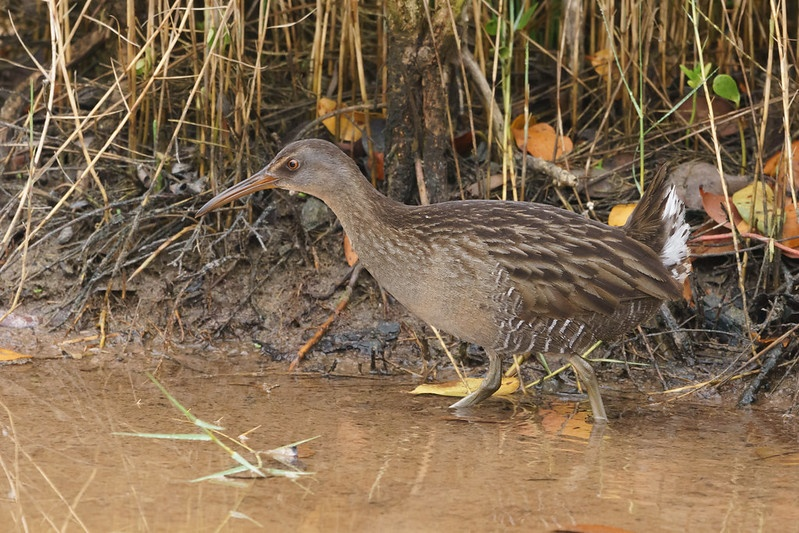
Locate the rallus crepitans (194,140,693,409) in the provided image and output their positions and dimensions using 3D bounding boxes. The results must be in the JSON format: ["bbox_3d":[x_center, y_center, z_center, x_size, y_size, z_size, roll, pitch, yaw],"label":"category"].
[{"bbox_3d":[0.250,-0.033,4.416,2.655,1.239,0.779,-2,27,-18],"label":"rallus crepitans"}]
